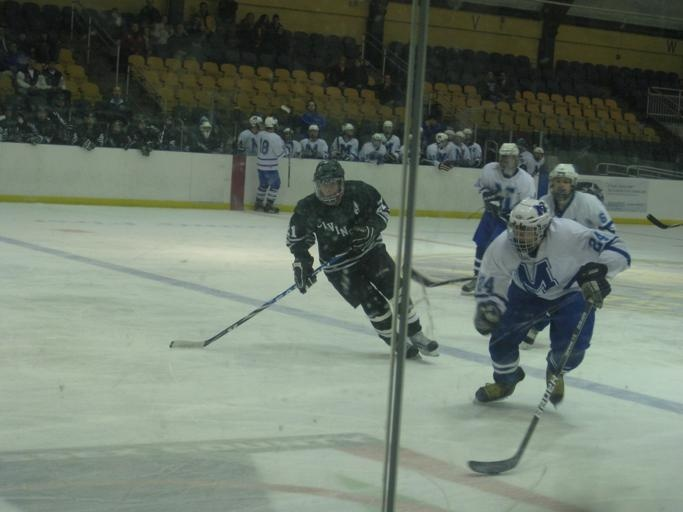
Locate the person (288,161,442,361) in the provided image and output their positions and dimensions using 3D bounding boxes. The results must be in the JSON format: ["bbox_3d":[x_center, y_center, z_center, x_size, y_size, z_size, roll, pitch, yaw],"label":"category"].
[{"bbox_3d":[0.095,0.007,4.531,0.795,1.056,0.370,2,10,-4],"label":"person"}]

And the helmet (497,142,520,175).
[{"bbox_3d":[1.150,-0.641,5.572,0.160,0.200,0.210,-5,-13,37],"label":"helmet"}]

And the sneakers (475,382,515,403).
[{"bbox_3d":[0.727,0.646,3.944,0.178,0.074,0.087,-3,0,-15],"label":"sneakers"}]

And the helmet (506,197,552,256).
[{"bbox_3d":[0.852,-0.138,3.748,0.181,0.227,0.244,14,31,39],"label":"helmet"}]

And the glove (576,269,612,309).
[{"bbox_3d":[1.143,0.155,3.718,0.124,0.172,0.062,-6,-10,22],"label":"glove"}]

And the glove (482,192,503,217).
[{"bbox_3d":[1.047,-0.369,5.754,0.100,0.163,0.167,1,-6,20],"label":"glove"}]

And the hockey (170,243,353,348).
[{"bbox_3d":[-0.575,0.295,5.763,1.040,0.122,0.119,-33,55,-14],"label":"hockey"}]

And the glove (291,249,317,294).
[{"bbox_3d":[-0.220,0.089,4.637,0.149,0.218,0.085,13,-21,-31],"label":"glove"}]

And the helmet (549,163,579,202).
[{"bbox_3d":[1.320,-0.426,4.828,0.185,0.176,0.137,0,-15,-34],"label":"helmet"}]

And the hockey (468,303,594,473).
[{"bbox_3d":[0.865,0.669,3.804,0.205,0.139,1.242,-5,10,30],"label":"hockey"}]

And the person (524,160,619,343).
[{"bbox_3d":[1.327,-0.028,4.980,0.571,1.058,0.393,10,16,20],"label":"person"}]

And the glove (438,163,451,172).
[{"bbox_3d":[0.602,-0.528,4.841,0.063,0.024,0.063,2,15,9],"label":"glove"}]

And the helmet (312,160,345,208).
[{"bbox_3d":[-0.068,-0.383,4.350,0.162,0.245,0.178,3,10,-1],"label":"helmet"}]

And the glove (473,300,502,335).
[{"bbox_3d":[0.674,0.291,3.833,0.110,0.148,0.059,12,13,14],"label":"glove"}]
